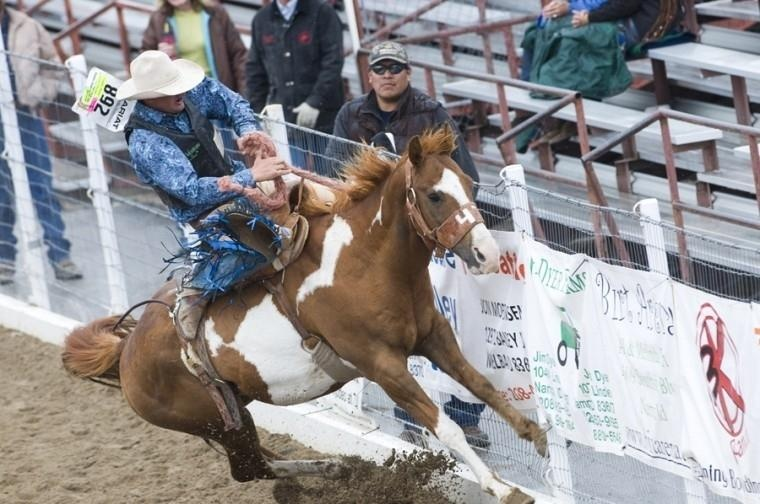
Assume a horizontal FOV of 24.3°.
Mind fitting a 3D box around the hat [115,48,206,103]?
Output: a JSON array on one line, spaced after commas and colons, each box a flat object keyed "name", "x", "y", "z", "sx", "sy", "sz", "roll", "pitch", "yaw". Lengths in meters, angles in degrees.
[{"name": "hat", "x": -1.669, "y": -1.286, "z": 13.326, "sx": 0.526, "sy": 0.203, "sz": 0.399, "roll": -13, "pitch": 34, "yaw": 15}]

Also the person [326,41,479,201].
[{"name": "person", "x": 0.181, "y": -1.015, "z": 14.032, "sx": 1.480, "sy": 1.639, "sz": 0.866, "roll": 0, "pitch": 3, "yaw": 25}]
